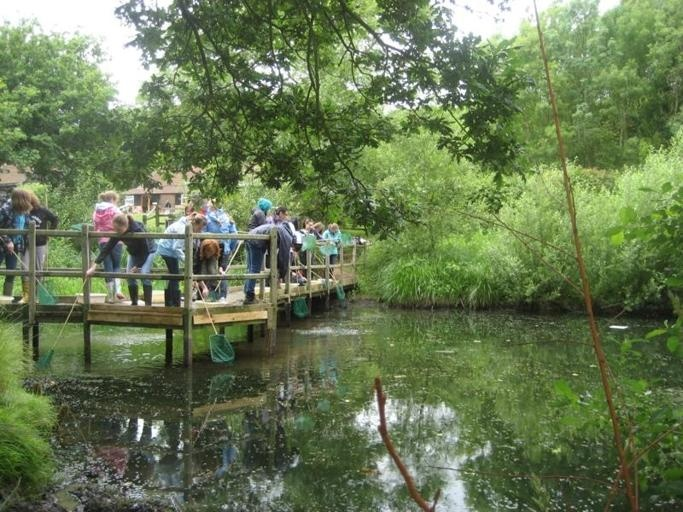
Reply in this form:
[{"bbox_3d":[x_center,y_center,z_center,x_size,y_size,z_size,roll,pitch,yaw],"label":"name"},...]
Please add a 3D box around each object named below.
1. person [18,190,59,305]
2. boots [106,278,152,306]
[{"bbox_3d":[-5.234,-0.177,11.376,0.748,1.877,0.578,2,-1,2],"label":"person"},{"bbox_3d":[-3.582,0.628,11.360,0.473,0.444,0.591,-7,-13,40],"label":"boots"}]
